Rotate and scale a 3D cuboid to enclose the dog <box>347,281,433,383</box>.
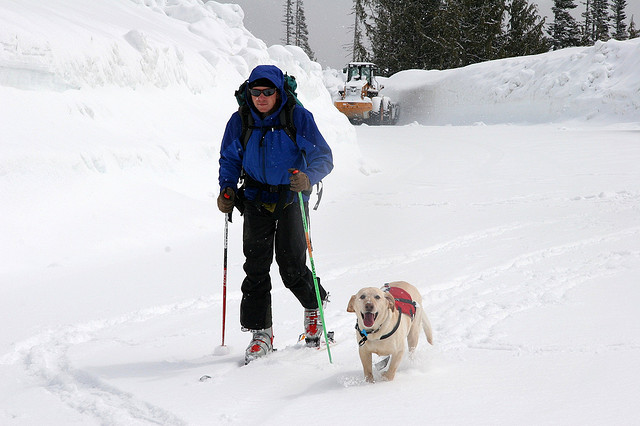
[{"bbox_3d":[0.924,1.522,8.695,0.624,1.206,1.213,4,18,33],"label":"dog"}]

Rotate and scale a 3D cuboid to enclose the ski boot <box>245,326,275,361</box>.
[{"bbox_3d":[-0.868,1.819,8.907,0.262,0.361,0.490,0,16,20],"label":"ski boot"}]
